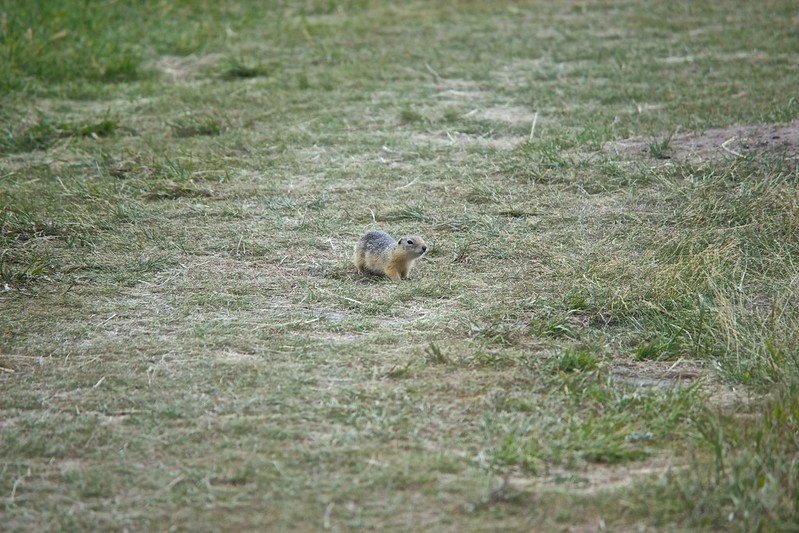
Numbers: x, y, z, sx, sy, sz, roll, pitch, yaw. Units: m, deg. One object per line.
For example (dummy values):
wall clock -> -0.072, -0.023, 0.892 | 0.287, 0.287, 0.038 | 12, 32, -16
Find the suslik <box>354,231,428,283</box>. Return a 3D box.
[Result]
suslik -> -0.048, -0.095, 8.130 | 0.367, 0.363, 0.807 | -1, 6, -36
